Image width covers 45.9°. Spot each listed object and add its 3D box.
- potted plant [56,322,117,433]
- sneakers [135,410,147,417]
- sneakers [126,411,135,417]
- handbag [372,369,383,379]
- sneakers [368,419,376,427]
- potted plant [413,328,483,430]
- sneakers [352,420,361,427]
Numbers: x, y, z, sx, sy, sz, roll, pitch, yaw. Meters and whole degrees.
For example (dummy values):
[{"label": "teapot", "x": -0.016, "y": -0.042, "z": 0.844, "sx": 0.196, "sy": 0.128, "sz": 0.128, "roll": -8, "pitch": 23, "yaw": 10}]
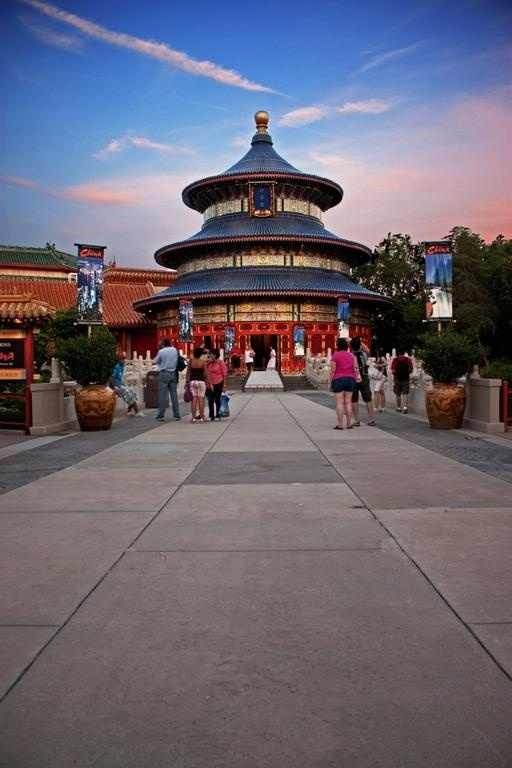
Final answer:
[{"label": "potted plant", "x": -3.800, "y": -0.136, "z": 13.781, "sx": 1.232, "sy": 2.345, "sz": 1.287, "roll": -3, "pitch": 4, "yaw": -16}, {"label": "sneakers", "x": -3.286, "y": 0.805, "z": 17.143, "sx": 0.215, "sy": 0.184, "sz": 0.410, "roll": -1, "pitch": -5, "yaw": -20}, {"label": "sneakers", "x": -3.691, "y": 0.866, "z": 17.582, "sx": 0.398, "sy": 0.182, "sz": 0.150, "roll": -1, "pitch": -2, "yaw": 33}, {"label": "handbag", "x": 4.399, "y": -0.363, "z": 21.940, "sx": 0.436, "sy": 0.434, "sz": 0.451, "roll": -3, "pitch": -8, "yaw": 10}, {"label": "sneakers", "x": 2.711, "y": 0.902, "z": 14.073, "sx": 0.102, "sy": 0.124, "sz": 0.285, "roll": 1, "pitch": 11, "yaw": 5}, {"label": "potted plant", "x": 4.226, "y": -0.057, "z": 13.554, "sx": 1.282, "sy": 1.977, "sz": 1.422, "roll": 8, "pitch": -7, "yaw": -15}, {"label": "sneakers", "x": 2.307, "y": 0.910, "z": 13.866, "sx": 0.101, "sy": 0.123, "sz": 0.284, "roll": 3, "pitch": 16, "yaw": 1}]
